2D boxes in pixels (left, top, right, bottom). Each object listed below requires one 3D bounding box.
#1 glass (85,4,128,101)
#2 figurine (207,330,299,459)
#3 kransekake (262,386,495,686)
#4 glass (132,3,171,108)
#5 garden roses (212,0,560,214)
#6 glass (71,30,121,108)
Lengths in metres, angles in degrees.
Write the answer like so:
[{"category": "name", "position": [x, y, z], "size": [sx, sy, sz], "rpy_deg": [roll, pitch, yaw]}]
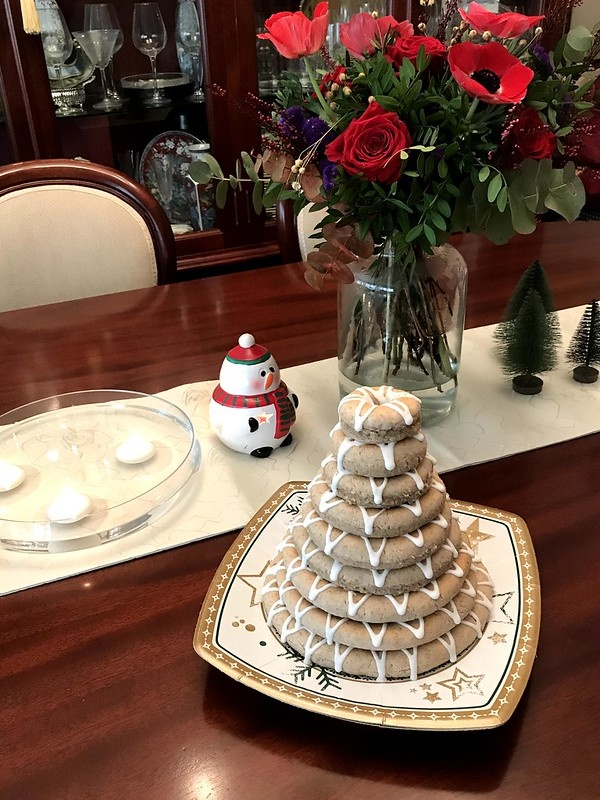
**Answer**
[{"category": "glass", "position": [-0.562, -1.007, 1.855], "size": [0.039, 0.262, 0.118], "rpy_deg": [22, 38, 37]}, {"category": "figurine", "position": [-0.051, -0.006, 0.664], "size": [0.100, 0.122, 0.096], "rpy_deg": [14, 32, 24]}, {"category": "kransekake", "position": [0.053, 0.081, 0.469], "size": [0.174, 0.153, 0.176], "rpy_deg": [18, 31, 39]}, {"category": "glass", "position": [-0.449, -1.047, 1.921], "size": [0.104, 0.271, 0.035], "rpy_deg": [-9, 30, -10]}, {"category": "garden roses", "position": [0.097, -0.238, 0.620], "size": [0.271, 0.174, 0.240], "rpy_deg": [0, 32, 4]}, {"category": "glass", "position": [-0.596, -0.989, 1.891], "size": [0.147, 0.200, 0.148], "rpy_deg": [-21, 33, -29]}]
